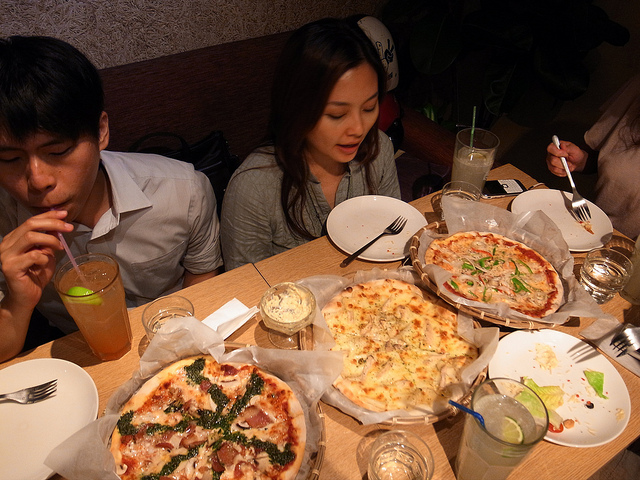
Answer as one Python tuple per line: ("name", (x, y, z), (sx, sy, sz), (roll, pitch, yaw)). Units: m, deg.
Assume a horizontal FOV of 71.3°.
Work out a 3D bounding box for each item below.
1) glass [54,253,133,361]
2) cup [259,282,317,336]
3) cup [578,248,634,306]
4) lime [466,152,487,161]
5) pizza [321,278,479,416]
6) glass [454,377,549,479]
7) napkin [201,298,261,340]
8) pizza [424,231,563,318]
("glass", (-0.996, 0.290, 1.978), (0.271, 0.353, 0.400), (-17, 38, -33))
("cup", (-0.130, 0.312, 2.022), (0.233, 0.136, 0.212), (5, 51, 5))
("cup", (1.440, 0.198, 2.251), (0.186, 0.230, 0.207), (0, 45, 8))
("lime", (0.996, -0.541, 2.830), (0.113, 0.027, 0.070), (14, 44, 12))
("pizza", (0.332, 0.482, 2.051), (0.738, 0.796, 0.086), (-5, 21, 16))
("glass", (0.649, 0.776, 1.672), (0.176, 0.584, 0.207), (4, 39, 7))
("napkin", (-0.419, 0.363, 2.098), (0.194, 0.062, 0.150), (-37, 55, -27))
("pizza", (0.919, 0.154, 2.368), (0.804, 0.138, 0.751), (-5, 34, -18))
